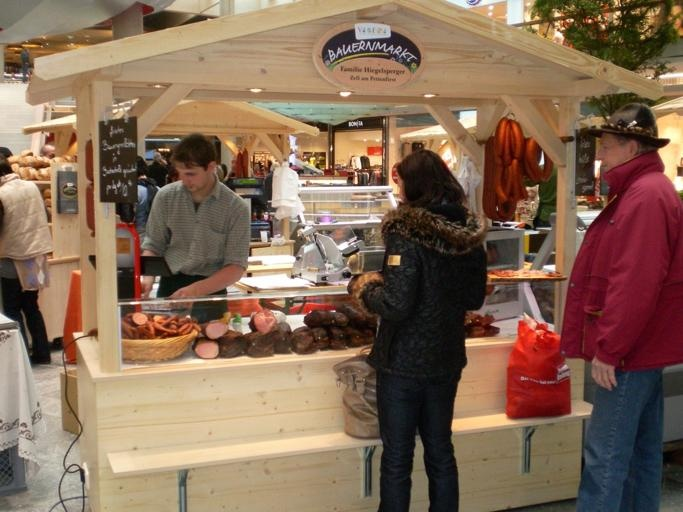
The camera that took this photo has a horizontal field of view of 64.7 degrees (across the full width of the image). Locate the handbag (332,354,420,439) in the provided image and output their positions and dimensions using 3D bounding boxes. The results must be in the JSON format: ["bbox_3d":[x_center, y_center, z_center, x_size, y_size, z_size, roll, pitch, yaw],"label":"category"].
[{"bbox_3d":[0.165,0.766,3.457,0.507,0.606,0.706,-5,2,-8],"label":"handbag"}]

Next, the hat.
[{"bbox_3d":[1.484,-0.722,2.784,0.393,0.151,0.395,-3,25,-2],"label":"hat"}]

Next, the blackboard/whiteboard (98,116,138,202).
[{"bbox_3d":[-1.142,-0.514,2.897,0.297,0.444,0.125,3,5,40],"label":"blackboard/whiteboard"}]
